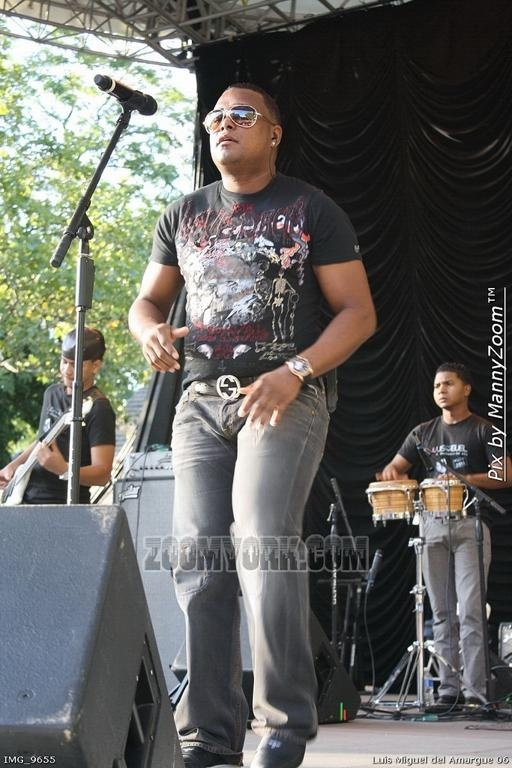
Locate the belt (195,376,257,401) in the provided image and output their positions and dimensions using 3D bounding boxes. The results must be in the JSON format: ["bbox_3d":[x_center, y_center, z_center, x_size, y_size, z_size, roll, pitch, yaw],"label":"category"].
[{"bbox_3d":[-0.093,0.010,2.371,0.107,0.035,0.073,-1,10,19],"label":"belt"}]

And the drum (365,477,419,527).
[{"bbox_3d":[0.705,0.593,4.824,0.265,0.179,0.238,1,-6,-14],"label":"drum"}]

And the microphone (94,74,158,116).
[{"bbox_3d":[-0.416,-0.917,3.068,0.081,0.076,0.264,7,-9,39],"label":"microphone"}]

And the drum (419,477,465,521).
[{"bbox_3d":[0.943,0.580,4.773,0.259,0.185,0.208,1,2,10],"label":"drum"}]

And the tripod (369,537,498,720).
[{"bbox_3d":[0.980,1.174,4.935,0.766,0.904,0.639,0,3,-3],"label":"tripod"}]

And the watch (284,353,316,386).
[{"bbox_3d":[0.103,-0.033,2.256,0.073,0.050,0.068,41,-14,28],"label":"watch"}]

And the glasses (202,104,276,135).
[{"bbox_3d":[-0.050,-0.691,2.509,0.160,0.069,0.052,2,9,25],"label":"glasses"}]
